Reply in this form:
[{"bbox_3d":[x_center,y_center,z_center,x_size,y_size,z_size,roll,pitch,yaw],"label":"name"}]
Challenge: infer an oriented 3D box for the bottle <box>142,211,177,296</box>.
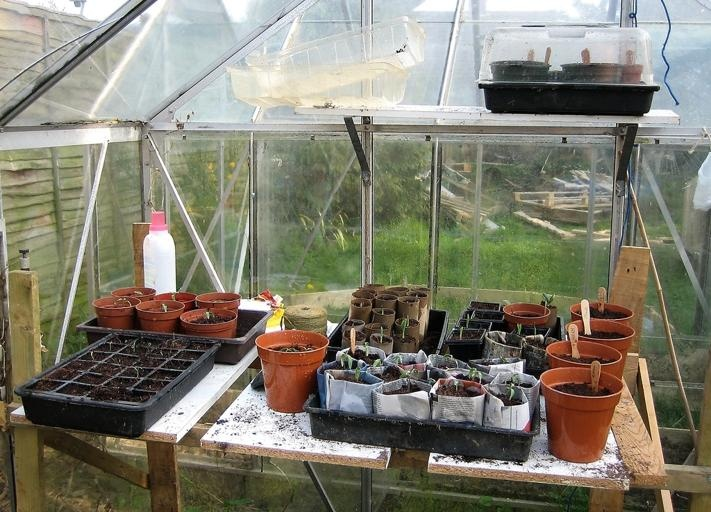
[{"bbox_3d":[-0.968,-0.016,3.126,0.149,0.392,0.229,-3,10,-19],"label":"bottle"}]
